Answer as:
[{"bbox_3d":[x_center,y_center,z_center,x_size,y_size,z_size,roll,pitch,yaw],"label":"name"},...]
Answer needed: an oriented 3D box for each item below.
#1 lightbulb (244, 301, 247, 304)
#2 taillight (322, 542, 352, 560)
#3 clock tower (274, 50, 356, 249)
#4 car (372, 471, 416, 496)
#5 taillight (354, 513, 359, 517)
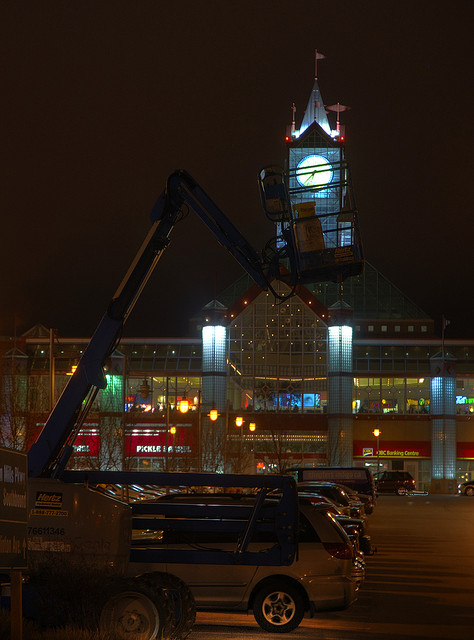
[{"bbox_3d":[0.625,-1.297,78.350,0.167,0.194,0.092,-2,-4,11],"label":"lightbulb"},{"bbox_3d":[1.391,3.205,14.701,0.410,0.223,0.172,3,-8,-20],"label":"taillight"},{"bbox_3d":[1.544,-3.345,20.646,1.306,4.216,1.206,0,-9,3],"label":"clock tower"},{"bbox_3d":[9.978,10.445,67.716,2.492,1.520,1.598,0,-7,3],"label":"car"},{"bbox_3d":[3.079,5.046,27.354,0.170,0.091,0.114,-3,2,3],"label":"taillight"}]
